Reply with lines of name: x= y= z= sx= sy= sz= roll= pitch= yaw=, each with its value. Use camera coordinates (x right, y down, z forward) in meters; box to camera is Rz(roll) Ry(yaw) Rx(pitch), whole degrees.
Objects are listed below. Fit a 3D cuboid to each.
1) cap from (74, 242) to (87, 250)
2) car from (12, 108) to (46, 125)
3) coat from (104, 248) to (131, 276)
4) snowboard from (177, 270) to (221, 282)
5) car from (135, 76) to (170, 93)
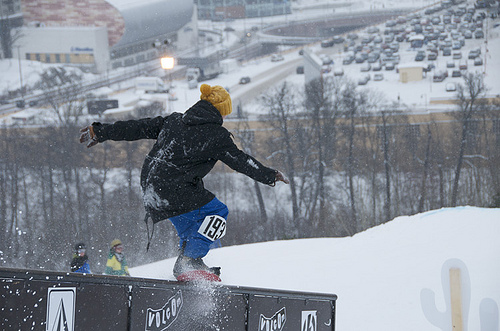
cap: x=-8.754 y=4.215 z=67.637 sx=0.856 sy=0.306 sz=0.951 roll=2 pitch=-15 yaw=-12
car: x=-13.836 y=-3.058 z=81.734 sx=2.110 sy=1.010 sz=1.671 roll=-4 pitch=3 yaw=-12
coat: x=-6.452 y=4.960 z=64.061 sx=1.314 sy=1.381 sz=0.755 roll=7 pitch=-7 yaw=-42
snowboard: x=-2.255 y=5.070 z=59.614 sx=1.381 sy=0.565 sz=0.118 roll=5 pitch=-7 yaw=-6
car: x=-6.613 y=-5.445 z=88.050 sx=2.452 sy=1.324 sz=1.025 roll=4 pitch=18 yaw=4
